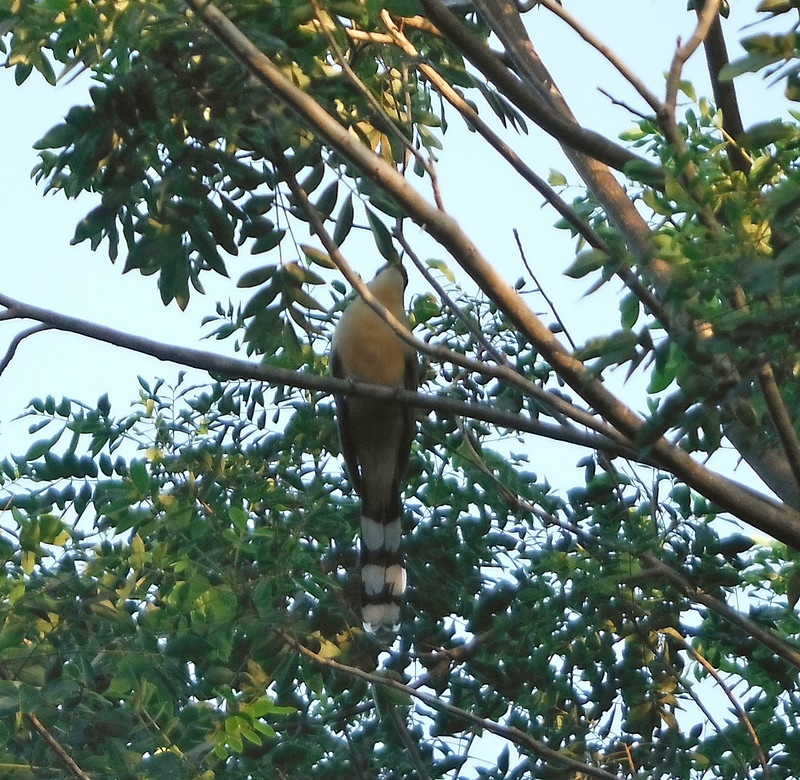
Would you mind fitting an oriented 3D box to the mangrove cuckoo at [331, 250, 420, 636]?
[{"bbox_3d":[-0.186,0.208,7.673,0.323,1.490,0.549,1,-10,10],"label":"mangrove cuckoo"}]
